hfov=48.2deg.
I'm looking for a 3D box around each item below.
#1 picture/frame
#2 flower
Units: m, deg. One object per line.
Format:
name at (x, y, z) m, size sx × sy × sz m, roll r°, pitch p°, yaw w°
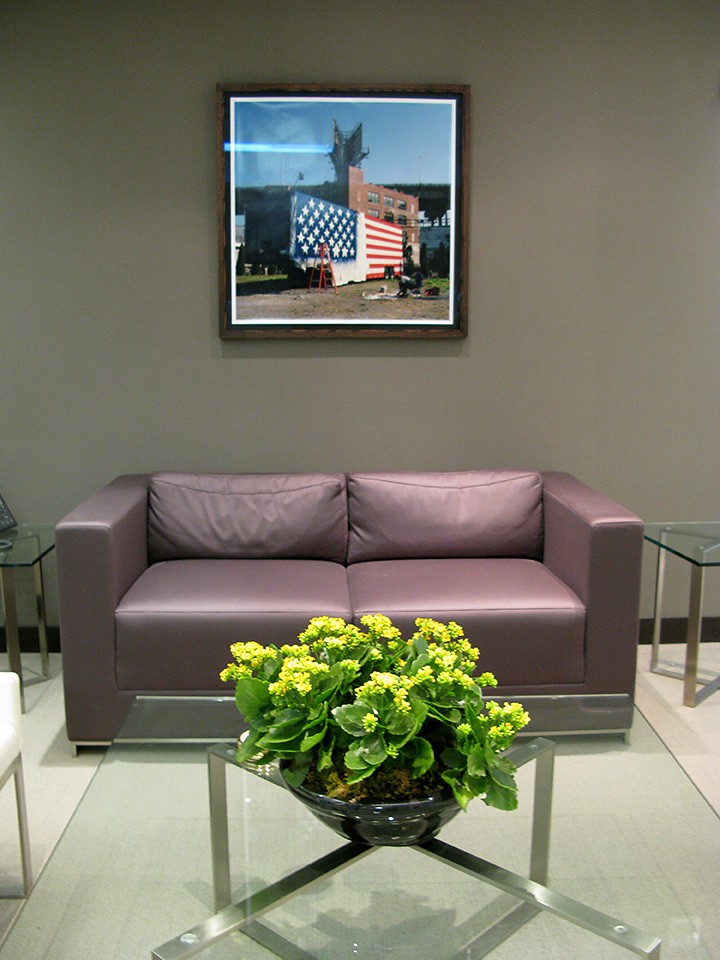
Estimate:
picture/frame at (-0.097, -1.090, 3.109) m, size 0.982 × 0.926 × 0.063 m, roll 0°, pitch 15°, yaw -2°
flower at (0.001, 0.387, 1.353) m, size 0.385 × 0.171 × 0.384 m, roll 5°, pitch 6°, yaw 7°
